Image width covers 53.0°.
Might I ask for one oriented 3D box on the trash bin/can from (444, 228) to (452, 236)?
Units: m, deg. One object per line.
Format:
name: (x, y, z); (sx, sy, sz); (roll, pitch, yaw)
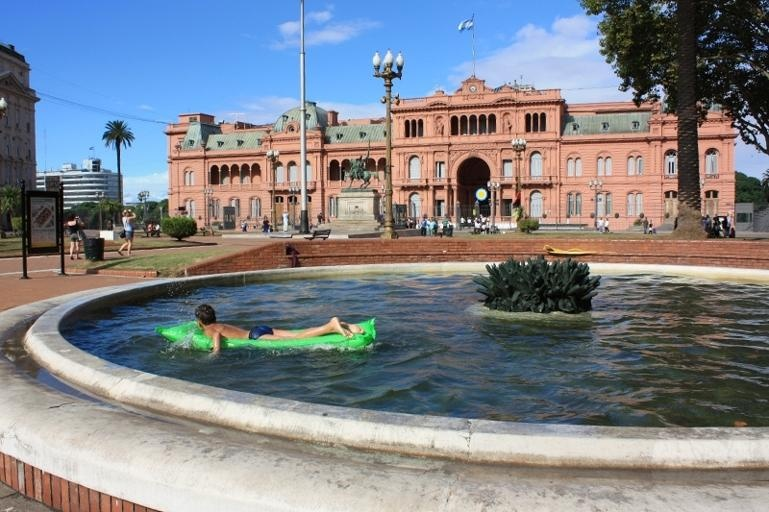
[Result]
trash bin/can: (3.323, -1.268, 41.715); (0.254, 0.470, 0.478); (-2, 4, 5)

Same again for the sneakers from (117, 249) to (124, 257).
sneakers: (-8.797, -0.098, 25.727); (0.150, 0.105, 0.369); (-23, -10, -13)

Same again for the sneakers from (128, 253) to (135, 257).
sneakers: (-8.225, -0.049, 25.024); (0.210, 0.094, 0.299); (-6, 1, -26)

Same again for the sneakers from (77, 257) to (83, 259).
sneakers: (-10.444, 0.045, 26.473); (0.173, 0.092, 0.231); (-2, 0, -21)

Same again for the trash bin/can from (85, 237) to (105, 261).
trash bin/can: (-8.526, -0.192, 23.001); (0.716, 0.655, 0.750); (-3, -2, 38)
